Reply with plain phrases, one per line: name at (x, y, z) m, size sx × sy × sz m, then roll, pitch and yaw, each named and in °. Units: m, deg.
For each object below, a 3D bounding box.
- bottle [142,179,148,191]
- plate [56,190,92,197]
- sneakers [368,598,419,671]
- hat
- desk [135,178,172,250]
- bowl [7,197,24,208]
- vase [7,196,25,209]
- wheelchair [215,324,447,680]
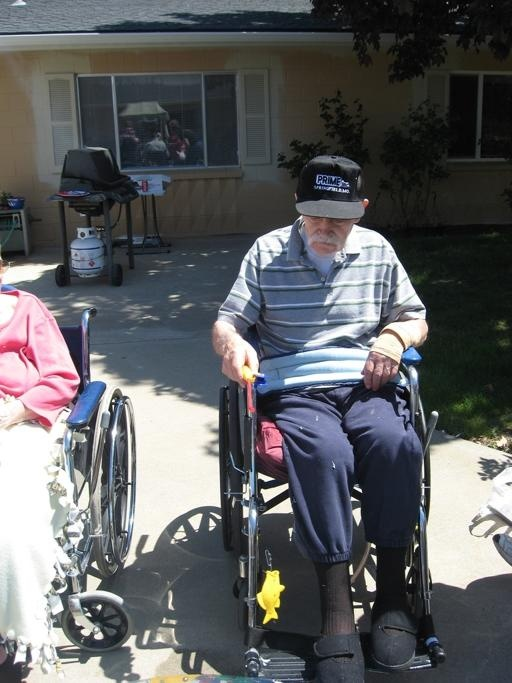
bottle at (-1.490, -2.114, 9.158) m, size 0.061 × 0.151 × 0.162 m, roll 3°, pitch 13°, yaw 20°
plate at (-1.948, -1.588, 7.259) m, size 0.335 × 0.061 × 0.268 m, roll -3°, pitch 12°, yaw -12°
sneakers at (0.344, 0.747, 1.685) m, size 0.069 × 0.072 × 0.192 m, roll -1°, pitch -1°, yaw 7°
hat at (0.233, -0.505, 2.149) m, size 0.231 × 0.155 × 0.318 m, roll 5°, pitch 30°, yaw 3°
desk at (-1.550, -1.943, 10.176) m, size 0.599 × 0.765 × 1.109 m, roll 0°, pitch 17°, yaw 0°
bowl at (-3.512, -2.018, 9.863) m, size 0.192 × 0.115 × 0.195 m, roll -1°, pitch 7°, yaw 0°
vase at (-3.513, -2.026, 9.902) m, size 0.214 × 0.131 × 0.208 m, roll -1°, pitch 1°, yaw -11°
wheelchair at (0.225, 0.488, 2.084) m, size 0.661 × 0.912 × 1.010 m, roll -2°, pitch 12°, yaw -5°
